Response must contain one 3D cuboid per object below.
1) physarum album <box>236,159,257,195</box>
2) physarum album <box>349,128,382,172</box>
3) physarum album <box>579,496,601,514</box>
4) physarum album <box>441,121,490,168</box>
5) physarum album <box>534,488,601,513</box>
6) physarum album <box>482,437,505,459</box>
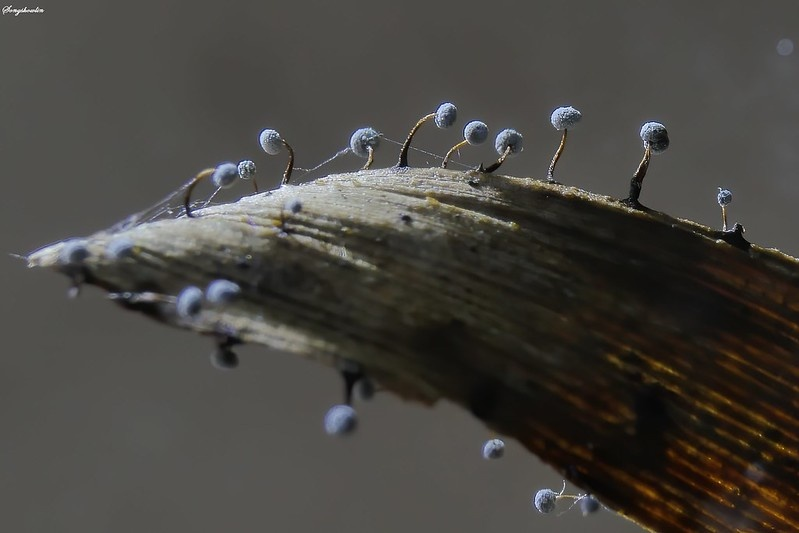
[{"bbox_3d":[-0.268,-0.161,1.965,0.034,0.059,0.032,-42,55,-8],"label":"physarum album"},{"bbox_3d":[-0.059,-0.213,1.977,0.048,0.075,0.057,7,-8,-32],"label":"physarum album"},{"bbox_3d":[0.332,0.408,1.862,0.031,0.024,0.035,-2,45,1],"label":"physarum album"},{"bbox_3d":[0.117,-0.228,1.957,0.081,0.114,0.105,-1,41,2],"label":"physarum album"},{"bbox_3d":[0.285,0.399,1.858,0.113,0.045,0.046,4,10,0],"label":"physarum album"},{"bbox_3d":[0.161,0.309,1.843,0.032,0.017,0.031,-9,66,-10],"label":"physarum album"}]
